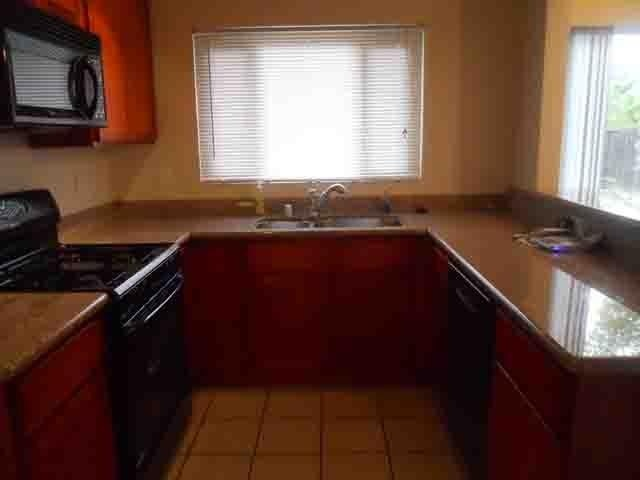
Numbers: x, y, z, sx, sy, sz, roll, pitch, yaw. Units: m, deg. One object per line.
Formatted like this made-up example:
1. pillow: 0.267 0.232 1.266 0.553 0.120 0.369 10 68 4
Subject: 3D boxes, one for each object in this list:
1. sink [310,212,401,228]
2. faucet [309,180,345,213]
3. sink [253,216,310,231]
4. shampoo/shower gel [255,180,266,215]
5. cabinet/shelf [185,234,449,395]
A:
1. sink: 0.238 -0.132 3.347 0.614 0.086 0.239 2 17 11
2. faucet: 0.053 -0.301 3.399 0.267 0.195 0.263 -1 16 3
3. sink: -0.240 -0.101 3.234 0.353 0.085 0.326 -2 17 -2
4. shampoo/shower gel: -0.432 -0.305 3.517 0.066 0.222 0.064 -3 14 -6
5. cabinet/shelf: -0.007 0.383 3.189 1.460 1.006 0.849 0 7 2
